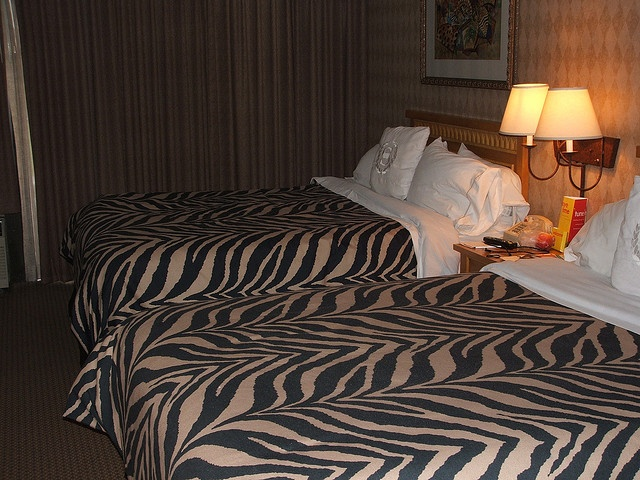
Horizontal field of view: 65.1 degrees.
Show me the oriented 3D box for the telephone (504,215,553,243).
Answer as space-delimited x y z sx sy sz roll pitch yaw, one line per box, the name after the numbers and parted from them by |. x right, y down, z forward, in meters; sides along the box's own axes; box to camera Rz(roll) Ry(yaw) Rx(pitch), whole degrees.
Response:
1.290 -0.081 3.094 0.199 0.089 0.210 -9 18 -13 | telephone

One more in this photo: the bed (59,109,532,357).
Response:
-0.072 -0.085 3.350 2.369 0.927 2.090 -3 20 -12 | bed

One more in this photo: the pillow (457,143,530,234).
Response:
1.178 -0.312 3.285 0.522 0.153 0.451 -14 45 0 | pillow

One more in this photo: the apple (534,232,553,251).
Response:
1.334 0.011 3.001 0.106 0.089 0.082 -13 32 -35 | apple

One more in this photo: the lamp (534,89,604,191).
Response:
1.373 -0.648 2.974 0.342 0.563 0.339 1 3 4 | lamp

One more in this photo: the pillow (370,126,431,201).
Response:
0.625 -0.641 4.070 0.186 0.590 0.623 19 -1 -26 | pillow
